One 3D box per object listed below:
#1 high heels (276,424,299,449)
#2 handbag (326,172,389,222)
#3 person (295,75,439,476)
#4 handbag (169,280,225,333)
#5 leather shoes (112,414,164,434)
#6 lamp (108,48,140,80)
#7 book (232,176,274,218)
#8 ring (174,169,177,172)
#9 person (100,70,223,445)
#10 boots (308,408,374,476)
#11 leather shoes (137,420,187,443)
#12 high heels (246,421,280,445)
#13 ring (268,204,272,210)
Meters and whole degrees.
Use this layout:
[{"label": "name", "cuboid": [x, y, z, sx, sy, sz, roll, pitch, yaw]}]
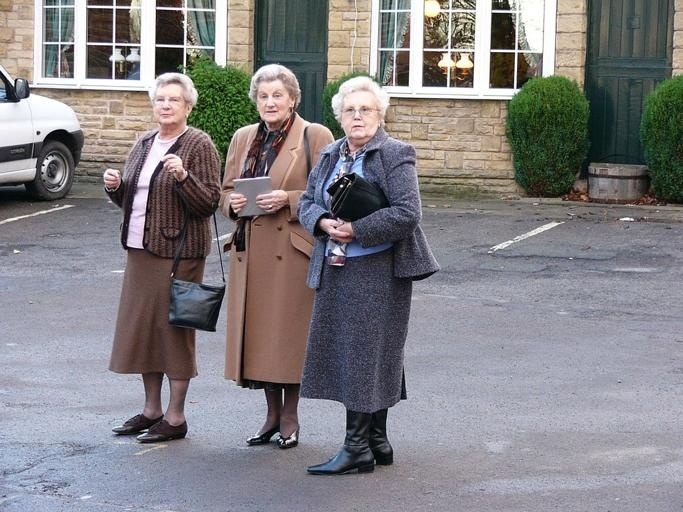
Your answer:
[{"label": "high heels", "cuboid": [-0.315, 1.076, 5.377, 0.151, 0.082, 0.336, -2, 2, 5]}, {"label": "handbag", "cuboid": [0.110, -0.304, 4.907, 0.313, 0.242, 0.107, 26, 27, -40]}, {"label": "person", "cuboid": [0.054, 0.100, 4.997, 0.744, 2.112, 0.603, -10, 17, -35]}, {"label": "handbag", "cuboid": [-0.864, 0.307, 5.406, 0.327, 0.321, 0.217, -1, 13, -3]}, {"label": "leather shoes", "cuboid": [-1.256, 1.038, 5.573, 0.331, 0.107, 0.110, 0, -1, -23]}, {"label": "lamp", "cuboid": [-3.932, -3.485, 16.575, 0.640, 0.499, 0.574, -1, 6, -10]}, {"label": "book", "cuboid": [-0.511, -0.333, 5.275, 0.295, 0.241, 0.026, -2, 11, 2]}, {"label": "ring", "cuboid": [-0.988, -0.499, 5.370, 0.020, 0.016, 0.010, 3, 23, 4]}, {"label": "person", "cuboid": [-1.121, -0.012, 5.549, 0.679, 2.152, 0.872, 2, 14, 8]}, {"label": "boots", "cuboid": [0.084, 1.039, 5.114, 0.389, 0.296, 0.136, -3, -10, -9]}, {"label": "leather shoes", "cuboid": [-1.071, 1.066, 5.474, 0.315, 0.116, 0.106, 1, -2, -17]}, {"label": "high heels", "cuboid": [-0.465, 1.081, 5.472, 0.255, 0.092, 0.081, -6, -5, -38]}, {"label": "ring", "cuboid": [-0.416, -0.277, 5.269, 0.021, 0.017, 0.005, 8, -4, 23]}]
